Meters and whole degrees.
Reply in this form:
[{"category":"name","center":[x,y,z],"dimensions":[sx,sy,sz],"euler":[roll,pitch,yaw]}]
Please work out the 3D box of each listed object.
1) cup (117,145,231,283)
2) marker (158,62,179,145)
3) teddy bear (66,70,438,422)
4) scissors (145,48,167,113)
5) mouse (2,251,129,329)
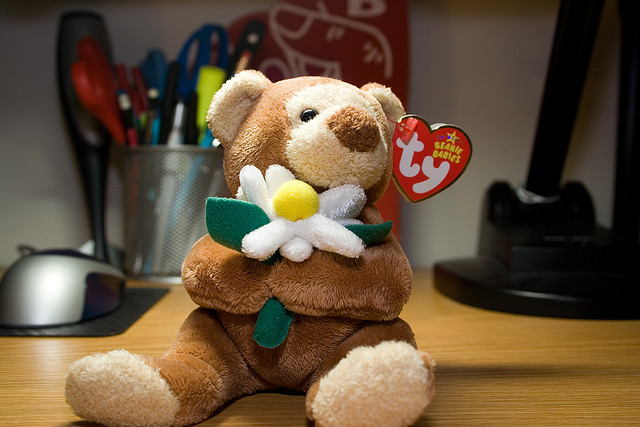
[{"category":"cup","center":[-0.324,-0.033,1.203],"dimensions":[0.187,0.226,0.196],"euler":[5,11,-1]},{"category":"marker","center":[-0.303,-0.225,1.165],"dimensions":[0.048,0.144,0.032],"euler":[-4,8,-26]},{"category":"teddy bear","center":[-0.046,0.039,0.747],"dimensions":[0.442,0.404,0.338],"euler":[9,21,11]},{"category":"scissors","center":[-0.342,-0.299,1.216],"dimensions":[0.035,0.179,0.043],"euler":[-6,-2,14]},{"category":"mouse","center":[-0.412,0.115,0.926],"dimensions":[0.092,0.074,0.156],"euler":[4,5,30]}]
